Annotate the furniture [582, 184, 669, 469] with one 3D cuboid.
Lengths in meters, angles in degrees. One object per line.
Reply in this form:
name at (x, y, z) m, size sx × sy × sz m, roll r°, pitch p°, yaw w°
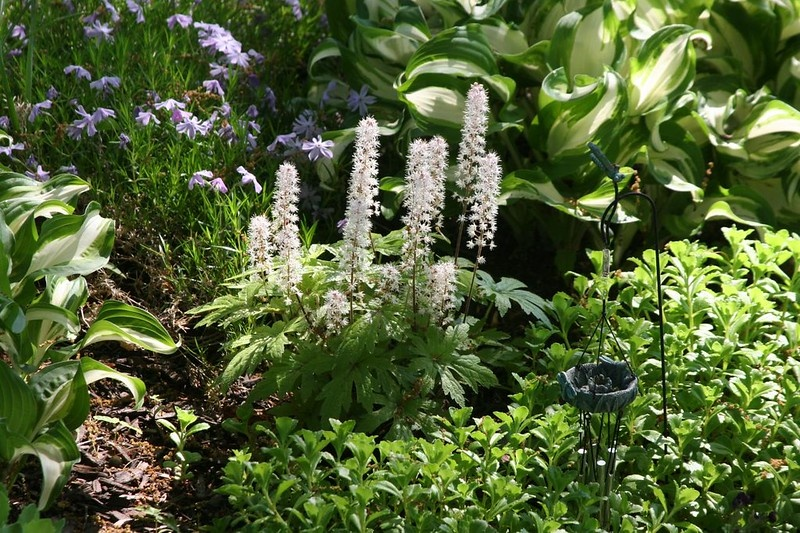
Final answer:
furniture at (1.123, 0.207, 4.102) m, size 0.374 × 1.304 × 0.288 m, roll -1°, pitch 25°, yaw 26°
